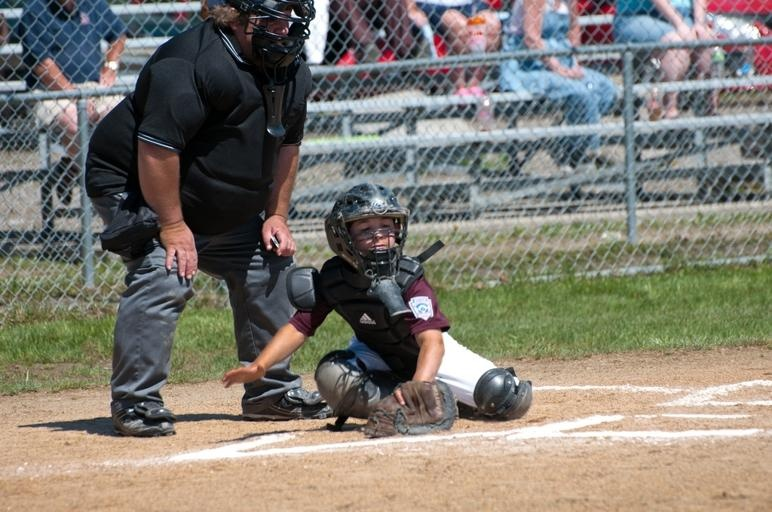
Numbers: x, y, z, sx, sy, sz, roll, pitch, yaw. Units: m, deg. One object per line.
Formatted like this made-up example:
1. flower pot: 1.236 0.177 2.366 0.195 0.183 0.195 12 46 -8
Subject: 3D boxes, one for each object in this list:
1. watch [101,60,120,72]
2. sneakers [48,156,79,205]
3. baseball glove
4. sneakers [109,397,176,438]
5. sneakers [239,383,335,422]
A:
1. watch: -2.457 -1.703 11.610 0.118 0.076 0.112 0 6 -7
2. sneakers: -2.854 -0.675 11.508 0.177 0.454 0.303 11 -35 -44
3. baseball glove: 0.164 0.973 8.355 0.523 0.226 0.329 -10 30 -4
4. sneakers: -1.603 1.104 8.593 0.416 0.182 0.213 -2 2 17
5. sneakers: -0.687 1.045 9.098 0.678 0.244 0.233 -3 3 -2
